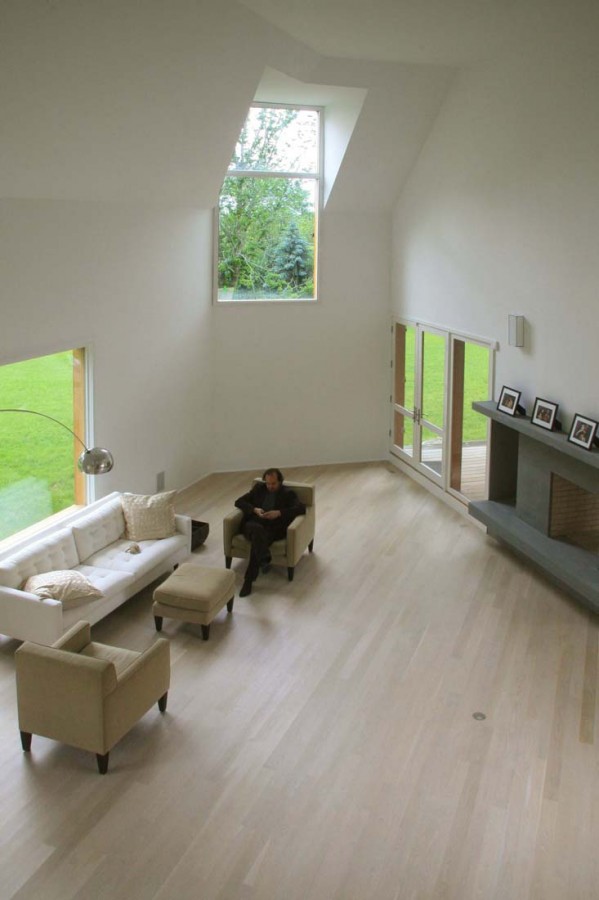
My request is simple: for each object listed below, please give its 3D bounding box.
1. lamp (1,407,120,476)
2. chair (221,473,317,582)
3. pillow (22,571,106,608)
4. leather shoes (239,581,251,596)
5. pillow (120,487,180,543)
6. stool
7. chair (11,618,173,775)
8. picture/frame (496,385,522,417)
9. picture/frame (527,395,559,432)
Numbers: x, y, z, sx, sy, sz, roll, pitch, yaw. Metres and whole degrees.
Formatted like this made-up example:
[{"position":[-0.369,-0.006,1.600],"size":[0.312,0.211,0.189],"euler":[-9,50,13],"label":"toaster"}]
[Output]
[{"position":[-2.629,-0.092,6.826],"size":[0.938,0.553,0.298],"euler":[16,37,4],"label":"lamp"},{"position":[-0.376,0.927,7.464],"size":[0.963,0.893,1.090],"euler":[2,12,10],"label":"chair"},{"position":[-2.159,1.252,5.649],"size":[0.591,0.216,0.550],"euler":[8,14,34],"label":"pillow"},{"position":[-0.578,1.483,6.835],"size":[0.100,0.123,0.229],"euler":[3,12,16],"label":"leather shoes"},{"position":[-1.718,0.760,7.190],"size":[0.459,0.478,0.173],"euler":[-3,-15,-6],"label":"pillow"},{"position":[-1.022,1.481,6.255],"size":[0.576,0.514,0.785],"euler":[6,11,15],"label":"stool"},{"position":[-1.478,1.612,4.604],"size":[0.818,0.941,0.927],"euler":[9,19,23],"label":"chair"},{"position":[2.416,-0.557,7.327],"size":[0.121,0.312,0.322],"euler":[1,15,-12],"label":"picture/frame"},{"position":[2.587,-0.377,6.732],"size":[0.125,0.319,0.330],"euler":[-1,14,-15],"label":"picture/frame"}]
